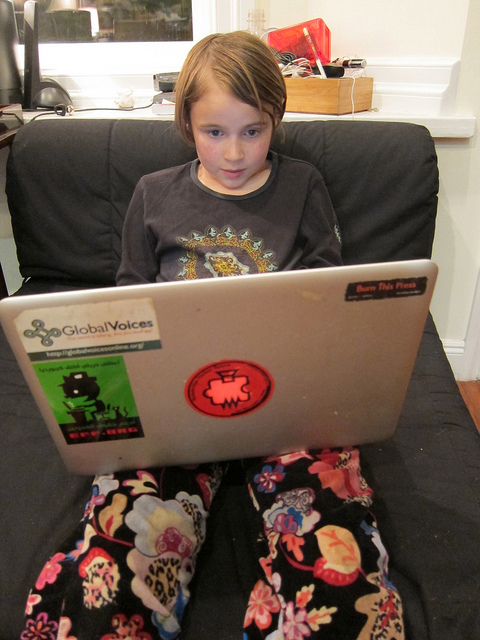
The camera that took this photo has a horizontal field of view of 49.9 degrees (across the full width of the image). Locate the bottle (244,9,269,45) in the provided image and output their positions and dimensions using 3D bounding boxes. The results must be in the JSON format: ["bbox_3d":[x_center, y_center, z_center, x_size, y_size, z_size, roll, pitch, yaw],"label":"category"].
[{"bbox_3d":[0.048,-0.908,1.573,0.055,0.062,0.113,-1,39,-1],"label":"bottle"}]
